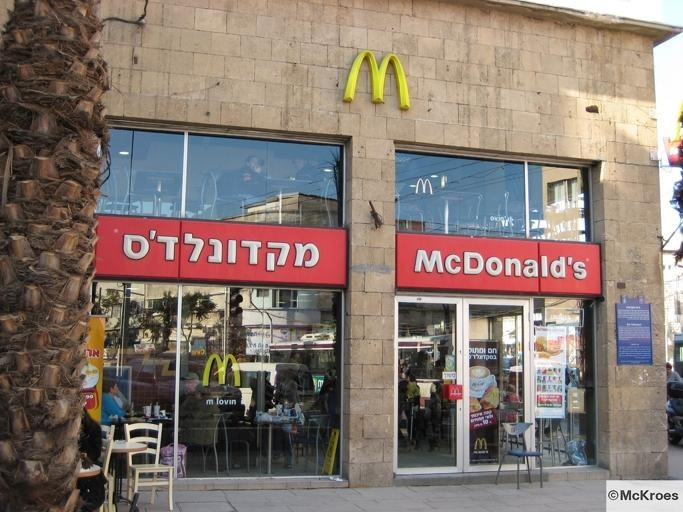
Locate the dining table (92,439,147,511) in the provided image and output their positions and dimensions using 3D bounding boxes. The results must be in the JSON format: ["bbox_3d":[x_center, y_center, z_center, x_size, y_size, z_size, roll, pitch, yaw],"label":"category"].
[{"bbox_3d":[-3.453,3.362,13.987,0.868,1.040,0.907,3,1,-11],"label":"dining table"}]

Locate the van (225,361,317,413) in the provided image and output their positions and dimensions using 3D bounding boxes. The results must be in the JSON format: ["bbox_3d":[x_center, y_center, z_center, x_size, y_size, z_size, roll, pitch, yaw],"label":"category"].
[{"bbox_3d":[-1.567,2.622,17.090,1.908,1.169,1.076,-7,-9,41],"label":"van"}]

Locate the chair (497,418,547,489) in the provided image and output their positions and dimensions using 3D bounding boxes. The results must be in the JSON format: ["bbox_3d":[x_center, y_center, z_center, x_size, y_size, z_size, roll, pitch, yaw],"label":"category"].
[{"bbox_3d":[3.377,3.757,17.026,0.824,1.167,0.874,-2,-8,16],"label":"chair"}]

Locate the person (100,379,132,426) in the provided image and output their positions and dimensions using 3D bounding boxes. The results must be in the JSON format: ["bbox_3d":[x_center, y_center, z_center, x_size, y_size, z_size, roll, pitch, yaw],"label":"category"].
[{"bbox_3d":[-3.927,2.523,15.570,0.433,0.795,0.464,2,-10,-14],"label":"person"}]

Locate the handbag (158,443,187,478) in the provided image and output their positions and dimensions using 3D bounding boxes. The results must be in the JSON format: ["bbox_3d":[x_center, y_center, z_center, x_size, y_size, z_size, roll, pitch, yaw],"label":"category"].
[{"bbox_3d":[-2.987,3.680,15.982,0.404,0.604,0.352,-1,6,-4],"label":"handbag"}]

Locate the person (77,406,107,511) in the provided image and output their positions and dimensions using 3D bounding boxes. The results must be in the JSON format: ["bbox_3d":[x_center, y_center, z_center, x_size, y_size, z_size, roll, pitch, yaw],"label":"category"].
[{"bbox_3d":[-3.524,2.920,12.702,0.377,1.479,1.305,2,-10,-15],"label":"person"}]
